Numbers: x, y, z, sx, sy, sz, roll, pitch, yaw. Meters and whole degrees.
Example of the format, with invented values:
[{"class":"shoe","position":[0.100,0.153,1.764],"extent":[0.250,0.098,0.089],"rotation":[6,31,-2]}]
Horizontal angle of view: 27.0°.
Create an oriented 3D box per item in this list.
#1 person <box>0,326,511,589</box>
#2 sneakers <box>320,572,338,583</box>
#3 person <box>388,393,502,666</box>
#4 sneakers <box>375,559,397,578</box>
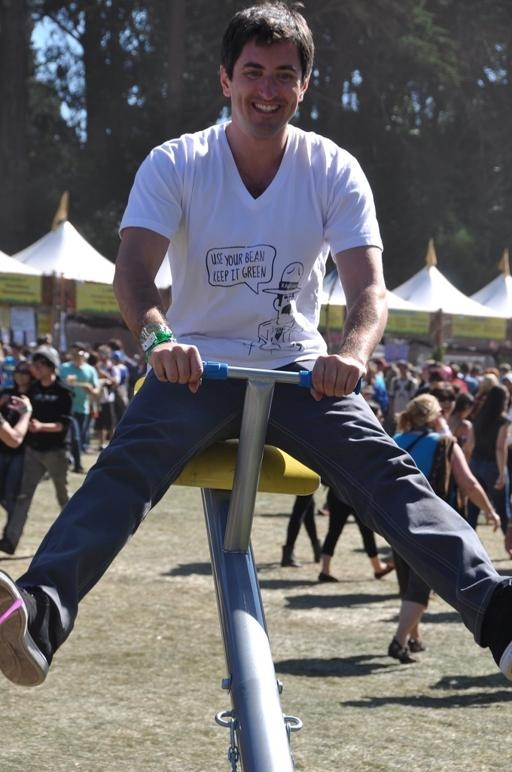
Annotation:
[{"class":"person","position":[0.000,0.202,2.428],"extent":[0.945,0.406,0.567],"rotation":[3,1,-2]},{"class":"sneakers","position":[0.460,1.246,6.845],"extent":[0.048,0.047,0.130],"rotation":[8,-10,-33]},{"class":"person","position":[1.019,0.847,6.531],"extent":[0.844,1.558,0.616],"rotation":[4,-4,38]},{"class":"sneakers","position":[0.850,1.222,7.113],"extent":[0.084,0.088,0.245],"rotation":[2,22,28]}]
